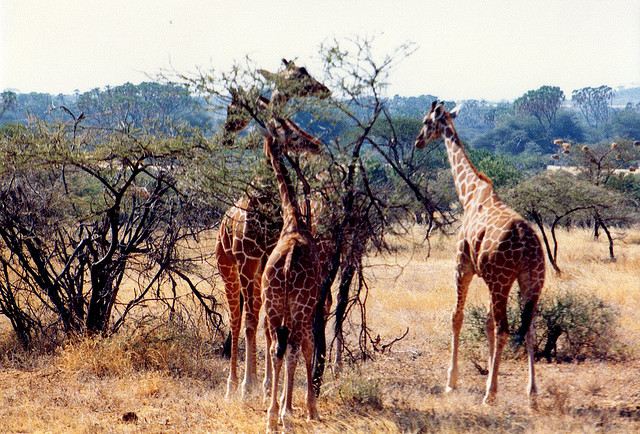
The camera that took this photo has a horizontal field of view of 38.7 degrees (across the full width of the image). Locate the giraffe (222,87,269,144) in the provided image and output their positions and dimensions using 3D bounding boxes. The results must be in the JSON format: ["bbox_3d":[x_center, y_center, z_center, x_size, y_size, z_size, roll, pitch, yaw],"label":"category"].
[{"bbox_3d":[-2.007,-2.777,24.364,0.967,1.132,1.794,1,-7,-28],"label":"giraffe"}]

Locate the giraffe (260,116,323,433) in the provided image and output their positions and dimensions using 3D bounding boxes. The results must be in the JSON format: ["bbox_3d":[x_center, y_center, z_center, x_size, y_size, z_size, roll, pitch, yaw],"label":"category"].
[{"bbox_3d":[-0.762,1.344,23.173,1.471,8.094,1.103,-1,-5,-5],"label":"giraffe"}]

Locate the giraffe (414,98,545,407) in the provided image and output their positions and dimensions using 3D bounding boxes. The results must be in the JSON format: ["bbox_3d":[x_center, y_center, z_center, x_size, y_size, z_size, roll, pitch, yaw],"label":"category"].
[{"bbox_3d":[4.515,0.707,24.854,1.799,8.573,3.217,1,-6,-29],"label":"giraffe"}]
